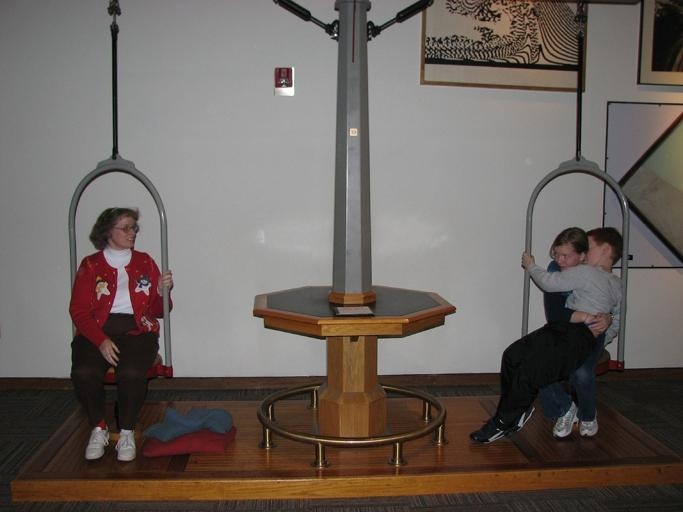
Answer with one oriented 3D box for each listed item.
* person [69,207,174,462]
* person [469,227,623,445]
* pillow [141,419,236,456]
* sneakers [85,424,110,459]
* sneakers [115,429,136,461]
[{"bbox_3d":[-1.300,0.398,3.345,0.583,1.246,0.816,-1,12,-4],"label":"person"},{"bbox_3d":[1.220,0.550,3.422,0.555,0.940,0.959,9,15,36],"label":"person"},{"bbox_3d":[-0.829,1.027,3.215,0.481,0.076,0.154,-2,13,-12],"label":"pillow"},{"bbox_3d":[-1.305,1.009,3.143,0.078,0.090,0.187,2,9,-12],"label":"sneakers"},{"bbox_3d":[-1.154,1.019,3.129,0.078,0.079,0.177,2,6,-13],"label":"sneakers"}]
